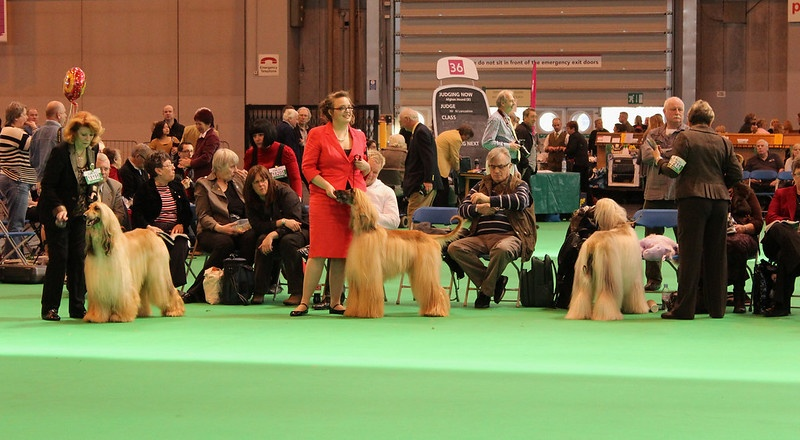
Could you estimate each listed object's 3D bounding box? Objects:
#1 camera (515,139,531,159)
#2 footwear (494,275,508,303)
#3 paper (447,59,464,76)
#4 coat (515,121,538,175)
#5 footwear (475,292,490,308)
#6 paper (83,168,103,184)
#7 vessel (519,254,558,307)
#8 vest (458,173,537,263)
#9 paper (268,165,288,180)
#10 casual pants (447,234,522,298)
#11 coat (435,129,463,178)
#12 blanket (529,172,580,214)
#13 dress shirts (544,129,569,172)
[{"bbox_3d":[1.887,-1.090,12.929,0.222,0.106,0.396,-14,25,6],"label":"camera"},{"bbox_3d":[1.225,0.829,10.342,0.180,0.370,0.136,6,12,-5],"label":"footwear"},{"bbox_3d":[1.189,-3.270,17.949,0.352,0.354,0.048,0,-1,-2],"label":"paper"},{"bbox_3d":[2.077,-1.033,14.176,0.343,1.223,0.509,-3,-7,8],"label":"coat"},{"bbox_3d":[1.012,0.963,10.245,0.178,0.178,0.423,0,-4,9],"label":"footwear"},{"bbox_3d":[-3.421,-0.506,9.440,0.221,0.154,0.052,-9,5,-40],"label":"paper"},{"bbox_3d":[1.690,0.733,10.507,0.561,0.784,0.576,1,2,8],"label":"vessel"},{"bbox_3d":[1.289,-0.003,10.540,0.817,1.065,1.079,-5,-12,36],"label":"vest"},{"bbox_3d":[-1.523,-0.594,10.567,0.298,0.156,0.211,-3,29,-13],"label":"paper"},{"bbox_3d":[1.054,0.585,10.322,0.821,0.799,0.726,1,-9,12],"label":"casual pants"},{"bbox_3d":[0.827,-1.104,14.283,0.463,0.814,0.495,9,12,8],"label":"coat"},{"bbox_3d":[2.893,-0.543,16.886,1.388,0.776,1.380,-1,4,25],"label":"blanket"},{"bbox_3d":[3.376,-1.358,18.313,0.470,1.247,0.378,4,3,26],"label":"dress shirts"}]
